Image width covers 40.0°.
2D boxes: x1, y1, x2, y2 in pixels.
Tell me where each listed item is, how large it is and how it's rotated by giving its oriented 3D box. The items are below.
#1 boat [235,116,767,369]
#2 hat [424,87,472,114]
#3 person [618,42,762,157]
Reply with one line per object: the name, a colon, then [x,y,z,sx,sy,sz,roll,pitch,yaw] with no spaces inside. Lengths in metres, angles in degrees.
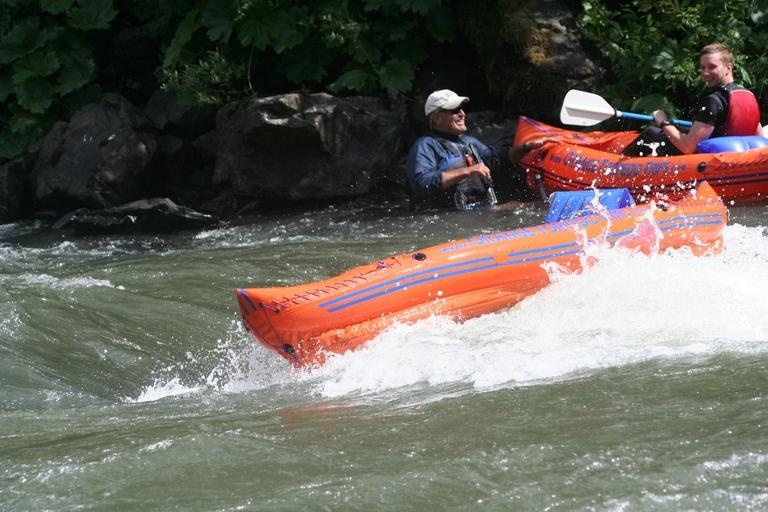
boat: [1.666,0.155,10.303,6.380,1.355,1.616,-16,17,-11]
hat: [0.702,-1.672,11.673,0.418,0.188,0.290,-18,3,26]
person: [3.329,-1.731,12.119,1.929,0.996,1.003,1,16,41]
